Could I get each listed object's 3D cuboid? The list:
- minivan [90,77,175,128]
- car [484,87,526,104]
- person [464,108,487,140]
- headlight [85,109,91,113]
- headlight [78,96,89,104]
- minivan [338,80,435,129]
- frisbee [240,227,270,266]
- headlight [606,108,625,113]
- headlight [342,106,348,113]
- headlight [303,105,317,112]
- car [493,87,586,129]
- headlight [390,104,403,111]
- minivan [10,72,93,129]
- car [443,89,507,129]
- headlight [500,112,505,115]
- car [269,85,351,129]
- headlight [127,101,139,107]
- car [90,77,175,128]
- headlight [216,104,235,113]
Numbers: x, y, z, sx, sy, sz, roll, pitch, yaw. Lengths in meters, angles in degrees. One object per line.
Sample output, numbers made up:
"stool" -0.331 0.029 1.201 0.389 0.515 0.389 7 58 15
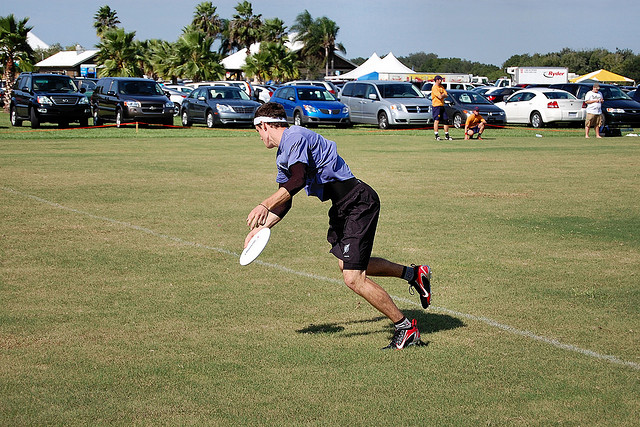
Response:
"minivan" -8.437 -4.955 30.752 2.097 1.524 3.791 -3 3 -34
"car" 9.937 -6.639 38.332 2.656 0.920 1.250 -2 9 -15
"person" 5.669 -3.316 25.870 0.667 1.148 1.741 2 7 11
"headlight" -9.865 -4.395 29.850 0.171 0.162 0.047 -3 19 -25
"headlight" -9.866 -4.771 29.423 0.279 0.163 0.274 -3 8 21
"minivan" 2.969 -5.055 32.063 2.935 2.098 5.221 -7 12 -29
"frisbee" -0.596 0.310 6.423 0.082 0.315 0.318 40 -6 -21
"headlight" 12.746 -4.477 30.344 0.775 0.194 0.181 0 7 -9
"headlight" 1.078 -4.572 30.723 0.344 0.169 0.540 -2 3 0
"headlight" -0.425 -4.560 30.327 0.635 0.303 0.086 5 8 33
"car" 10.260 -5.086 33.541 2.396 1.655 5.269 -6 11 -21
"headlight" 3.230 -4.512 29.740 0.549 0.268 0.083 5 8 32
"minivan" -11.817 -4.909 30.379 2.034 1.651 3.846 -2 2 -29
"car" 6.656 -4.856 30.927 2.178 1.463 3.510 -3 5 -28
"headlight" 8.123 -4.493 31.368 0.138 0.130 0.124 -4 5 9
"car" -0.767 -4.504 32.687 2.809 2.210 5.352 -3 6 -29
"headlight" -7.779 -4.555 29.246 0.329 0.116 0.232 5 0 -7
"car" -8.416 -5.028 31.409 2.479 1.991 5.157 -6 12 -36
"headlight" -4.090 -4.569 30.394 0.840 0.354 0.205 4 8 26
